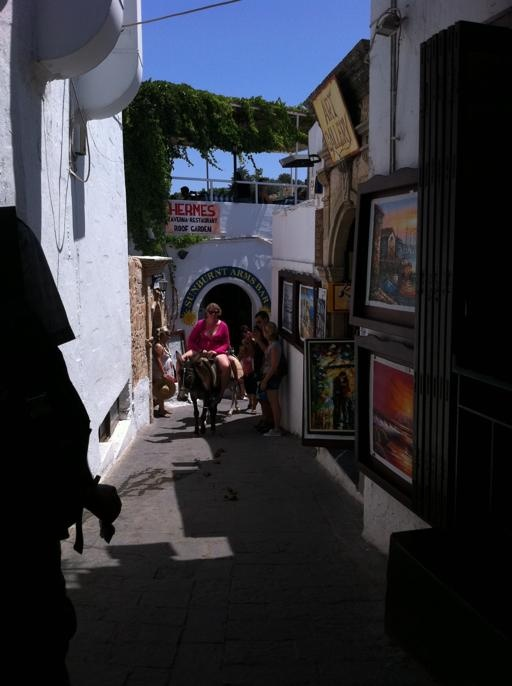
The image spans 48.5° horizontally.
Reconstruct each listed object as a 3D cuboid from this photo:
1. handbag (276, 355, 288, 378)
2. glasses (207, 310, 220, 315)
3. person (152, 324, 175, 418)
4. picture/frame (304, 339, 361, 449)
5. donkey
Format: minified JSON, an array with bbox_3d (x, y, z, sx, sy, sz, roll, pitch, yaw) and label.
[{"bbox_3d":[0.431,0.372,9.026,0.116,0.364,0.642,0,0,9],"label":"handbag"},{"bbox_3d":[-0.703,-0.511,9.471,0.183,0.096,0.116,0,0,-22],"label":"glasses"},{"bbox_3d":[-1.865,0.546,11.509,0.325,1.763,0.467,-2,9,-26],"label":"person"},{"bbox_3d":[0.870,0.520,6.429,0.601,1.239,0.068,-1,19,2],"label":"picture/frame"},{"bbox_3d":[-0.815,0.802,10.032,0.499,1.719,1.934,-3,-8,16],"label":"donkey"}]
